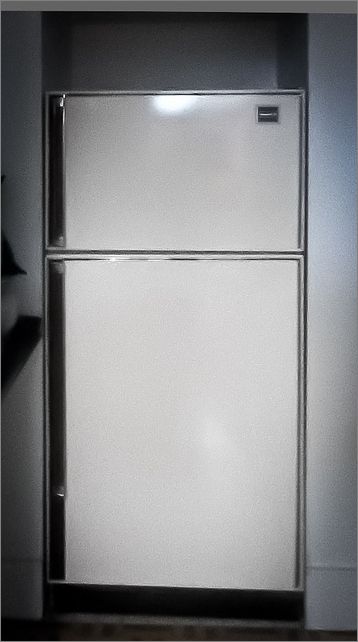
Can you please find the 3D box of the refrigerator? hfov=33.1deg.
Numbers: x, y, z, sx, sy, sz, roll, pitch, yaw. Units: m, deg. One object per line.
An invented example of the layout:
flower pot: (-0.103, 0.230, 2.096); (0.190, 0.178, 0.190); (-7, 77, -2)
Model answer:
refrigerator: (-0.017, 0.122, 1.911); (0.823, 1.643, 0.570); (1, -13, 12)
